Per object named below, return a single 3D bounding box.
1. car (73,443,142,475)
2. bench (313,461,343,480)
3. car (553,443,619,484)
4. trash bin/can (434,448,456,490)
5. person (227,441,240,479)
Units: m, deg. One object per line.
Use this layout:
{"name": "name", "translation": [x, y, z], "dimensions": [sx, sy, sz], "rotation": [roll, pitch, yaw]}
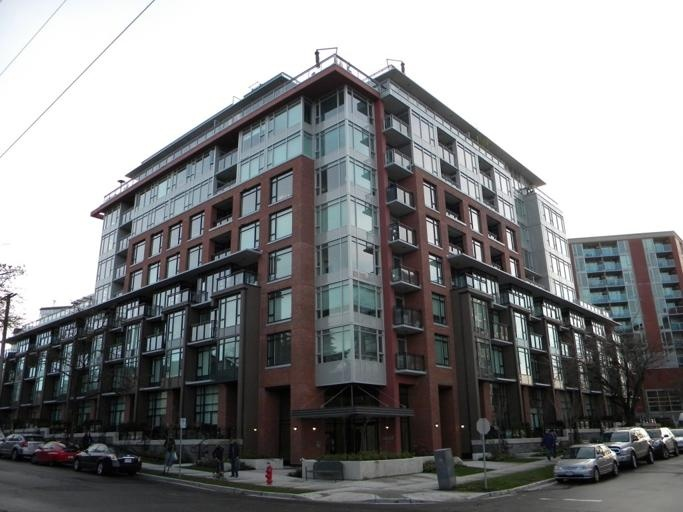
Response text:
{"name": "car", "translation": [-14.414, 12.585, 33.837], "dimensions": [4.020, 1.950, 1.656], "rotation": [-16, -27, 31]}
{"name": "bench", "translation": [-0.803, 12.925, 32.975], "dimensions": [1.840, 1.122, 0.526], "rotation": [-16, -28, 30]}
{"name": "car", "translation": [13.265, 11.194, 29.669], "dimensions": [3.404, 1.884, 1.641], "rotation": [14, -28, -34]}
{"name": "trash bin/can", "translation": [5.490, 11.335, 29.135], "dimensions": [1.046, 2.028, 0.707], "rotation": [16, -31, -35]}
{"name": "person", "translation": [-6.692, 12.630, 34.026], "dimensions": [0.516, 2.158, 0.848], "rotation": [2, -26, -11]}
